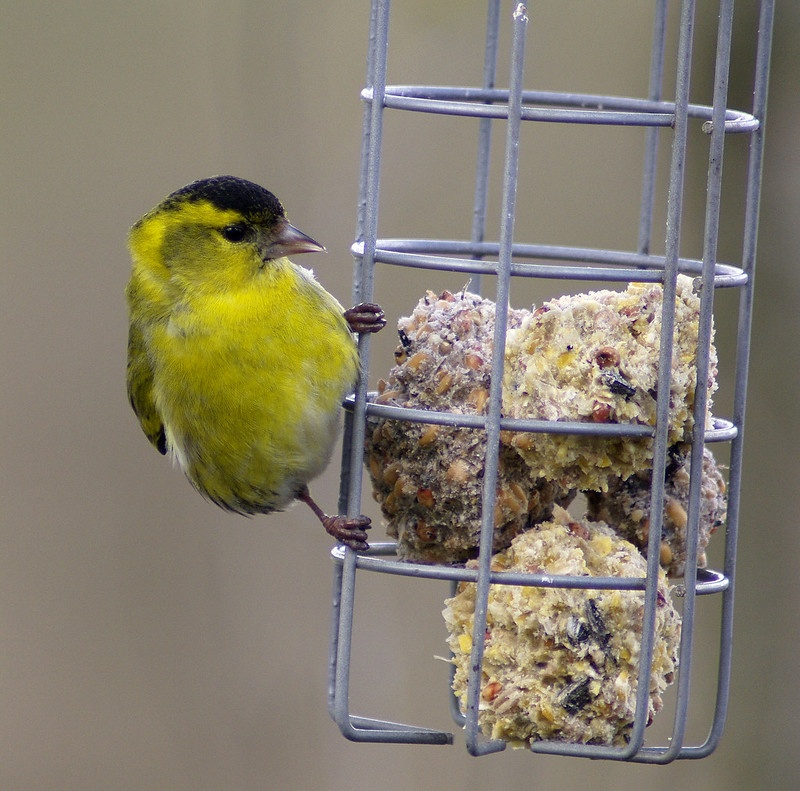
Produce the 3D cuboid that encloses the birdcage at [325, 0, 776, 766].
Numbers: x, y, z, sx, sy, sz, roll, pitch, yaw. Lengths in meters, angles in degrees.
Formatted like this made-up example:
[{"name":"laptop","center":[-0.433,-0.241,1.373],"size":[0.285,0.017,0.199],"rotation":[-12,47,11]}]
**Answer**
[{"name":"birdcage","center":[0.296,-0.141,3.320],"size":[0.846,1.616,0.915],"rotation":[0,-20,-3]}]
